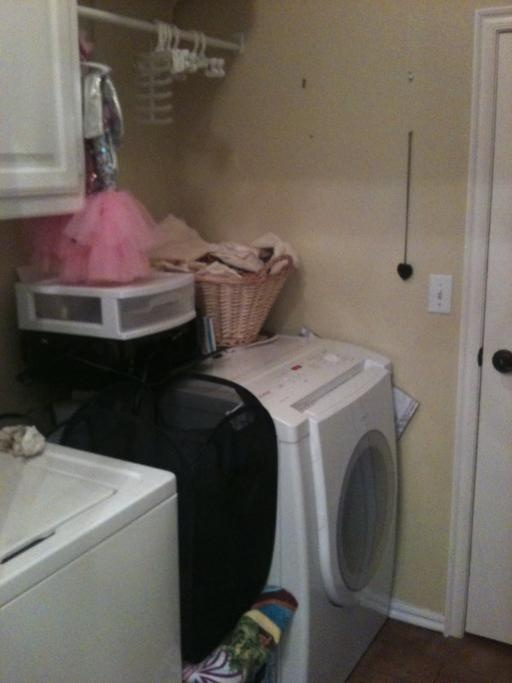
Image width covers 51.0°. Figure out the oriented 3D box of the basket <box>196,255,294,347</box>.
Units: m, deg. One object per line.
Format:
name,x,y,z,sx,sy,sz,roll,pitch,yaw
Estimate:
basket,-0.031,-0.096,1.434,0.122,0.227,0.298,11,17,39
